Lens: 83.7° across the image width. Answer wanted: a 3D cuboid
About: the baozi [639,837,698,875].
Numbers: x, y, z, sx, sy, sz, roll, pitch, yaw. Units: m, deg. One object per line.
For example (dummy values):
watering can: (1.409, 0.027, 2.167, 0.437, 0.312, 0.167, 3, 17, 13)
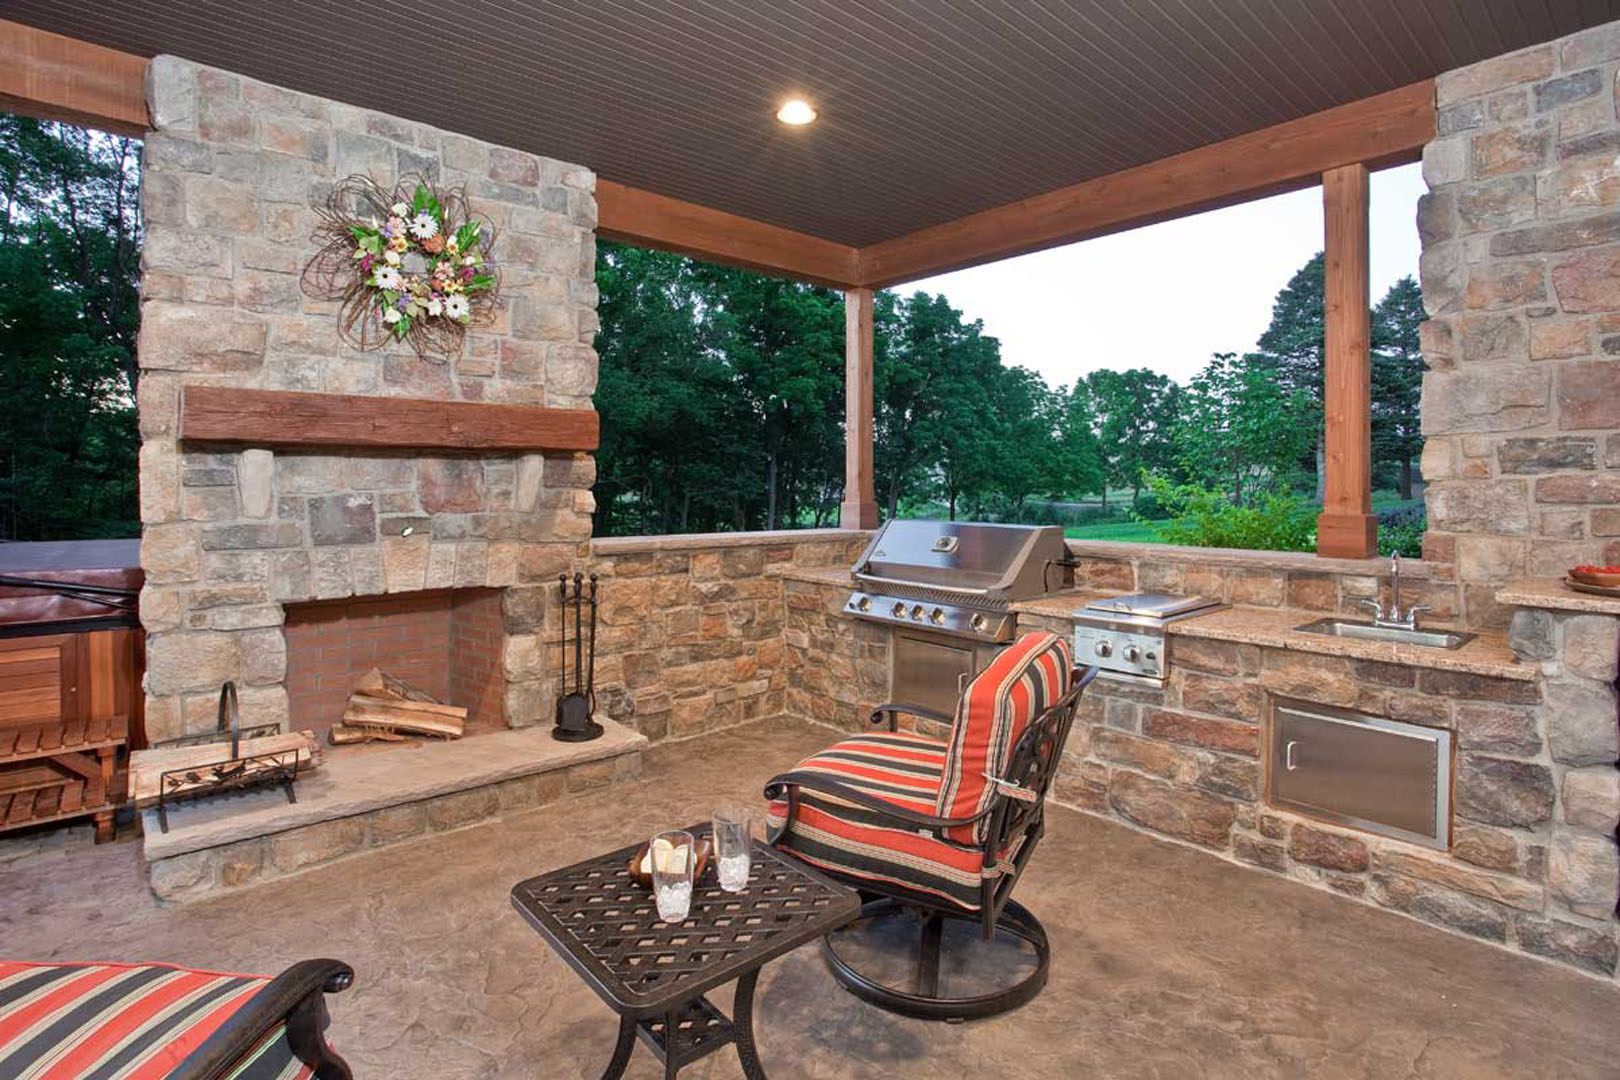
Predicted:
baozi: (-0.521, 1.140, 3.305, 0.208, 0.057, 0.143, 0, -3, 24)
